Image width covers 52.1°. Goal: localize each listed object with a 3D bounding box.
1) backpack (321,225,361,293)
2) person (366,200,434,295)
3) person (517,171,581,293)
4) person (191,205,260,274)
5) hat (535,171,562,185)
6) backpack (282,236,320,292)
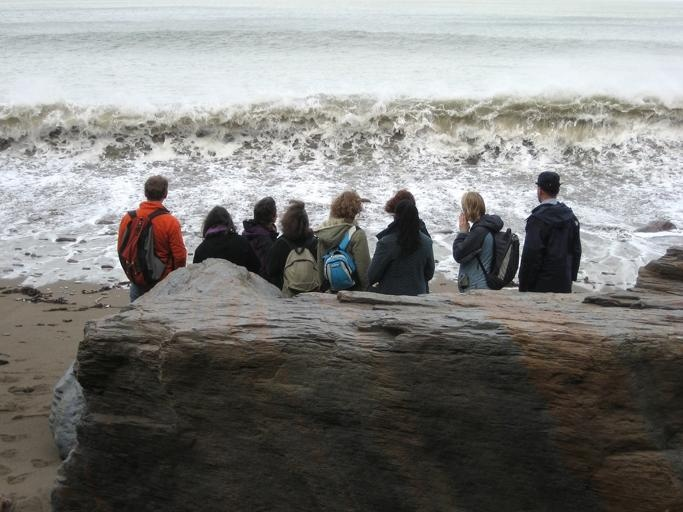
[{"bbox_3d":[-0.003,0.078,7.255,0.410,0.549,0.365,-15,-5,25],"label":"backpack"},{"bbox_3d":[0.621,-0.098,7.055,0.668,0.924,0.318,2,12,2],"label":"person"},{"bbox_3d":[2.210,-0.247,7.288,0.779,1.253,0.536,-2,12,-21],"label":"person"},{"bbox_3d":[-1.235,-0.160,7.343,0.663,0.696,0.416,5,12,16],"label":"person"},{"bbox_3d":[2.175,-0.818,7.348,0.223,0.113,0.260,1,10,1],"label":"hat"},{"bbox_3d":[-0.397,0.141,7.129,0.388,0.487,0.305,2,11,1],"label":"backpack"}]
